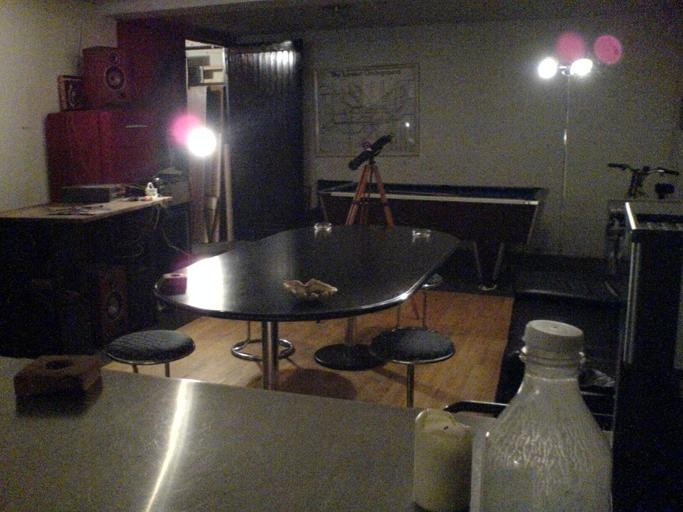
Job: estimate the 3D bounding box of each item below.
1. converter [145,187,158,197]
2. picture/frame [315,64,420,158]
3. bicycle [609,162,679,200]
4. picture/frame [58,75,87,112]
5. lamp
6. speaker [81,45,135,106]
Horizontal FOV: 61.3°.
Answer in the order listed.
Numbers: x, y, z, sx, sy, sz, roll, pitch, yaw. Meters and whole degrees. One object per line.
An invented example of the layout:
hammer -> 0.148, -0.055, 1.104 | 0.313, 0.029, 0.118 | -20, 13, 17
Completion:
converter -> -1.608, -0.530, 4.874 | 0.086, 0.071, 0.076 | -3, 10, -25
picture/frame -> 0.319, -1.808, 7.188 | 1.418, 1.065, 0.067 | 4, 9, 30
bicycle -> 2.955, -0.711, 5.549 | 0.568, 0.331, 1.575 | 5, 9, 21
picture/frame -> -2.379, -1.430, 5.074 | 0.077, 0.308, 0.215 | 10, 12, 42
lamp -> 2.482, -1.039, 6.412 | 0.581, 2.196, 0.546 | -10, 12, -39
speaker -> -2.110, -1.611, 5.166 | 0.299, 0.518, 0.545 | 5, 13, 25
